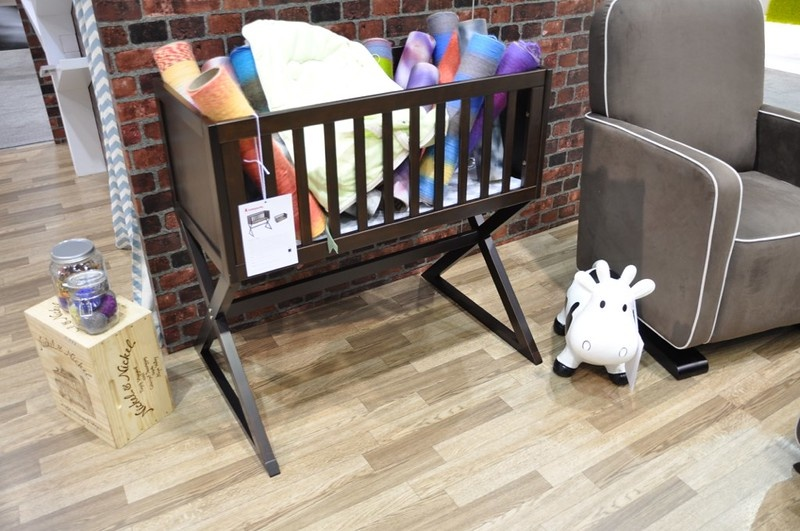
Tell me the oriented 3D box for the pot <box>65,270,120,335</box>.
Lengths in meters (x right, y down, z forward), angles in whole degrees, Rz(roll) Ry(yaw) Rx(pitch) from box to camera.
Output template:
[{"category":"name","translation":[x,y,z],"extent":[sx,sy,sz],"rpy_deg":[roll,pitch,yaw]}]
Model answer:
[{"category":"pot","translation":[-1.060,0.125,1.928],"extent":[0.156,0.178,0.147],"rpy_deg":[-4,37,3]}]

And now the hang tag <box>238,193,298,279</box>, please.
[{"category":"hang tag","translation":[-0.411,-0.102,1.732],"extent":[0.242,0.292,0.015],"rpy_deg":[-20,37,-25]}]

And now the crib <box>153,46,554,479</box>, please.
[{"category":"crib","translation":[-0.241,-0.073,2.431],"extent":[1.811,1.593,1.366],"rpy_deg":[-20,45,-23]}]

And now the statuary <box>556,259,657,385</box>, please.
[{"category":"statuary","translation":[0.830,0.205,2.279],"extent":[0.350,0.472,0.498],"rpy_deg":[6,32,6]}]

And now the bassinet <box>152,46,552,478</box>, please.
[{"category":"bassinet","translation":[-0.140,-0.113,2.273],"extent":[1.324,1.156,0.952],"rpy_deg":[-21,27,-33]}]
